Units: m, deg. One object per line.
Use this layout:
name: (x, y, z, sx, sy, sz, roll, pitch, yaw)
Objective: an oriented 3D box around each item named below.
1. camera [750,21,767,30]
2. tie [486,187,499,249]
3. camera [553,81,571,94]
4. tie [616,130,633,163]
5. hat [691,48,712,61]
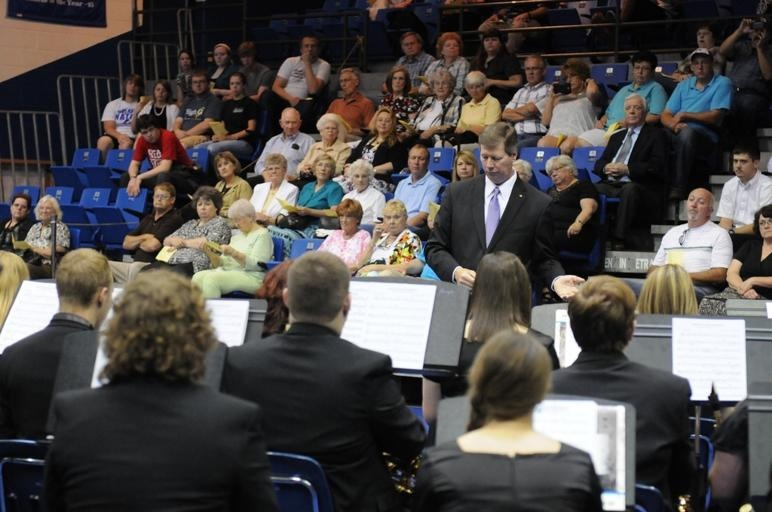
camera: (3.607, -2.224, 10.924, 0.143, 0.091, 0.116, 3, 5, 11)
tie: (0.749, -0.289, 7.948, 0.072, 0.430, 0.026, 6, -19, 15)
camera: (1.827, -1.738, 11.733, 0.181, 0.134, 0.164, 3, 5, 6)
tie: (2.256, -1.037, 10.693, 0.140, 0.302, 0.143, 2, 6, -6)
hat: (3.046, -1.947, 10.967, 0.188, 0.120, 0.209, 3, 5, 7)
